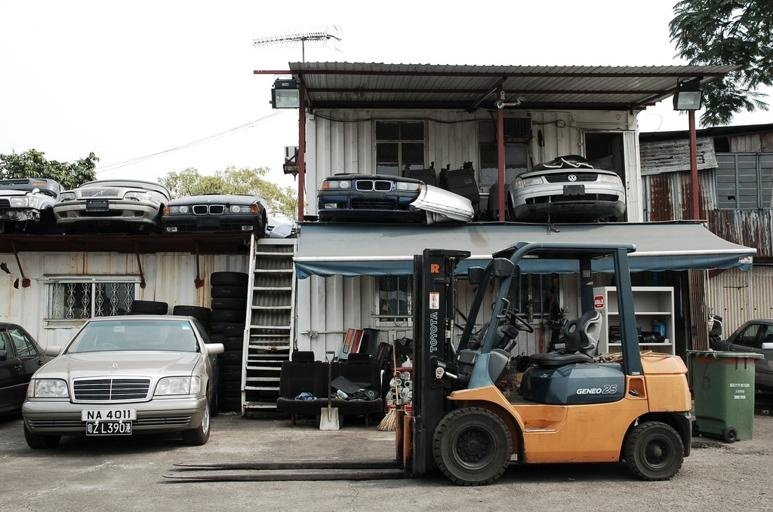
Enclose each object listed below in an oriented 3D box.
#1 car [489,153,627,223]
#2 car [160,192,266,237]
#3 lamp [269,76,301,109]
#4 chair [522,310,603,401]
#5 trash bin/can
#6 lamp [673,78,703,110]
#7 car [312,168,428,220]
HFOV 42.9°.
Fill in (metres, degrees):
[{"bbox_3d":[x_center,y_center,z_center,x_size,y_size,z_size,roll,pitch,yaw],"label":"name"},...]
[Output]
[{"bbox_3d":[4.190,-1.644,23.756,3.091,1.603,1.464,-1,1,13],"label":"car"},{"bbox_3d":[-4.302,-0.995,24.428,2.443,1.054,0.722,-1,1,-12],"label":"car"},{"bbox_3d":[-2.519,-4.007,24.196,0.725,0.841,1.246,-1,1,-6],"label":"lamp"},{"bbox_3d":[3.336,1.769,18.178,1.435,1.471,1.039,-4,-2,-19],"label":"chair"},{"bbox_3d":[7.132,2.903,20.629,1.246,1.902,1.215,-1,-1,-1],"label":"trash bin/can"},{"bbox_3d":[7.586,-3.938,24.309,0.628,0.784,0.457,5,2,28],"label":"lamp"},{"bbox_3d":[-0.380,-1.356,23.453,2.478,1.164,0.701,-1,1,1],"label":"car"}]
